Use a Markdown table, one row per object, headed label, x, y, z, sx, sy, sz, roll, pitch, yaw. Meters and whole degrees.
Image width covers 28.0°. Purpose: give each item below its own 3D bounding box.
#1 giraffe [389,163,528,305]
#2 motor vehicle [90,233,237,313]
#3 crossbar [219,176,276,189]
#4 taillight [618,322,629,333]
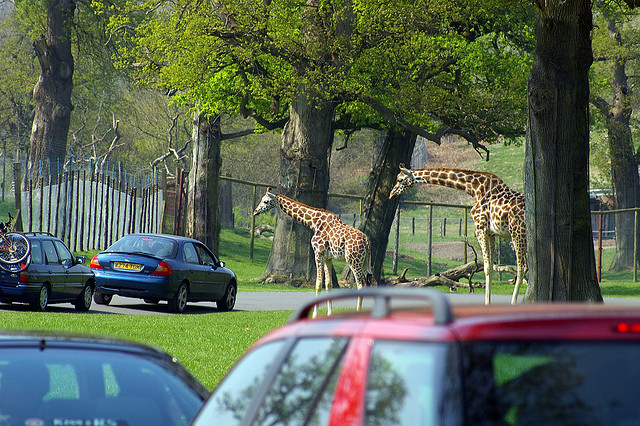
| label | x | y | z | sx | sy | sz | roll | pitch | yaw |
| --- | --- | --- | --- | --- | --- | --- | --- | --- | --- |
| giraffe | 6.311 | 1.048 | 52.851 | 6.774 | 5.930 | 1.842 | 3 | 1 | 20 |
| motor vehicle | -6.010 | 2.463 | 53.309 | 2.891 | 2.059 | 4.904 | 1 | 0 | 29 |
| crossbar | -5.085 | -2.192 | 91.776 | 0.527 | 0.273 | 5.301 | 16 | -3 | 42 |
| taillight | 9.543 | 3.610 | 40.406 | 0.337 | 0.334 | 0.062 | 3 | -6 | -10 |
